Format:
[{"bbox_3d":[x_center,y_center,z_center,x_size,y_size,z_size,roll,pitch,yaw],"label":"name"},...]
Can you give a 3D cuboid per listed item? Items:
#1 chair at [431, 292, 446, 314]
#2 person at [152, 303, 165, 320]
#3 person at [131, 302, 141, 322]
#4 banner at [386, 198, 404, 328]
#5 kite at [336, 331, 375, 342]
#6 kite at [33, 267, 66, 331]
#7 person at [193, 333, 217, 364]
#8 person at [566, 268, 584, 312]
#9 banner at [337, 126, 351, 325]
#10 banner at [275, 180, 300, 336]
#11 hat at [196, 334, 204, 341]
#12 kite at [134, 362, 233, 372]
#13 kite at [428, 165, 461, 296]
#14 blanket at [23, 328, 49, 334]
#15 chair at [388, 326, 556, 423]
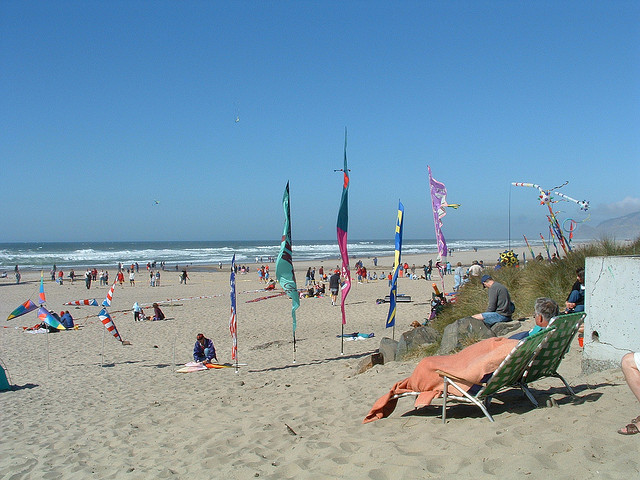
[{"bbox_3d":[3.243,1.708,15.214,0.380,0.553,0.204,7,-20,-1],"label":"chair"},{"bbox_3d":[-6.345,2.797,21.472,0.392,0.620,1.272,-3,-4,-17],"label":"person"},{"bbox_3d":[-6.972,2.775,20.904,0.246,0.662,0.730,-3,-4,-19],"label":"person"},{"bbox_3d":[1.645,0.496,12.015,0.058,2.840,0.497,0,-10,30],"label":"banner"},{"bbox_3d":[0.976,2.622,14.780,0.774,0.125,1.030,-7,-4,21],"label":"kite"},{"bbox_3d":[-7.965,1.850,16.284,1.261,1.363,0.305,31,27,17],"label":"kite"},{"bbox_3d":[-2.698,2.544,12.738,0.513,0.779,0.541,-4,10,19],"label":"person"},{"bbox_3d":[4.607,0.895,9.863,0.315,0.673,0.765,-6,-3,26],"label":"person"},{"bbox_3d":[0.492,-0.133,12.074,0.403,3.996,0.369,2,3,22],"label":"banner"},{"bbox_3d":[-0.668,0.510,11.608,0.507,5.117,0.704,-2,5,-21],"label":"banner"},{"bbox_3d":[-2.802,2.285,12.823,0.129,0.153,0.376,-3,-4,-20],"label":"hat"},{"bbox_3d":[-3.019,2.897,12.652,2.199,0.150,1.042,-7,-4,25],"label":"kite"},{"bbox_3d":[3.439,-0.208,14.673,0.784,3.317,0.149,2,25,32],"label":"kite"},{"bbox_3d":[-9.487,3.058,18.353,0.505,0.231,0.165,4,-4,14],"label":"blanket"},{"bbox_3d":[2.022,1.677,7.048,1.571,0.994,1.057,-6,-3,41],"label":"chair"}]
